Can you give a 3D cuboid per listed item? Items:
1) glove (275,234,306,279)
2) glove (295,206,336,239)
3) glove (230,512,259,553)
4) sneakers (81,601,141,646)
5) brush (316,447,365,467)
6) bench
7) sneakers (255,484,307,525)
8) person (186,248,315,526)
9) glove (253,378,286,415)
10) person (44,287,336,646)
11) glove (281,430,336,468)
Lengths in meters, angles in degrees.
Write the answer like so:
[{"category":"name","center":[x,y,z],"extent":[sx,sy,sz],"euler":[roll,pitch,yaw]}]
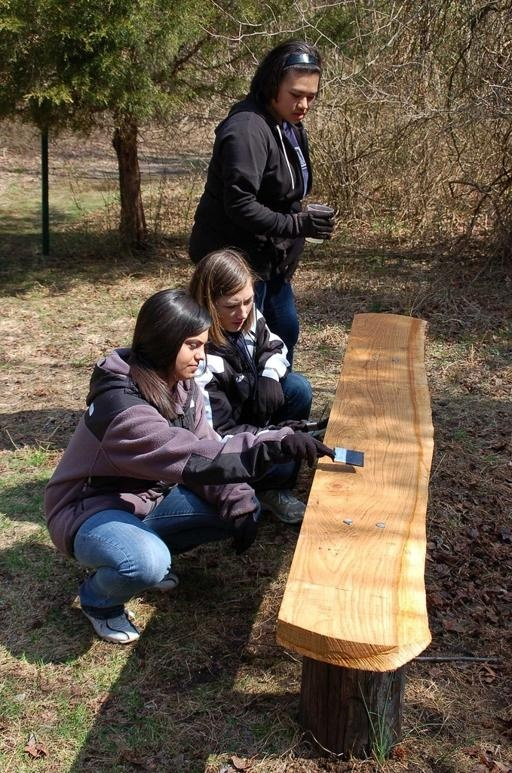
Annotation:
[{"category":"glove","center":[0.160,-0.613,3.212],"extent":[0.123,0.200,0.101],"euler":[10,54,-6]},{"category":"glove","center":[0.263,-0.718,2.993],"extent":[0.154,0.112,0.152],"euler":[-17,37,-21]},{"category":"glove","center":[-0.037,0.515,2.417],"extent":[0.103,0.163,0.050],"euler":[23,40,23]},{"category":"sneakers","center":[-0.541,0.836,2.411],"extent":[0.249,0.106,0.101],"euler":[12,12,21]},{"category":"brush","center":[0.286,0.221,2.264],"extent":[0.173,0.049,0.078],"euler":[6,29,-11]},{"category":"bench","center":[0.324,0.471,2.200],"extent":[0.233,0.312,1.534],"euler":[6,23,8]},{"category":"sneakers","center":[0.126,0.538,3.163],"extent":[0.298,0.138,0.110],"euler":[19,14,31]},{"category":"person","center":[-0.030,0.022,2.942],"extent":[0.677,1.129,0.570],"euler":[9,33,11]},{"category":"glove","center":[0.045,0.040,2.951],"extent":[0.153,0.062,0.150],"euler":[-27,31,-32]},{"category":"person","center":[-0.220,0.291,2.308],"extent":[0.781,1.111,0.996],"euler":[-9,17,-44]},{"category":"glove","center":[0.158,0.181,2.034],"extent":[0.113,0.063,0.140],"euler":[9,6,-38]}]
